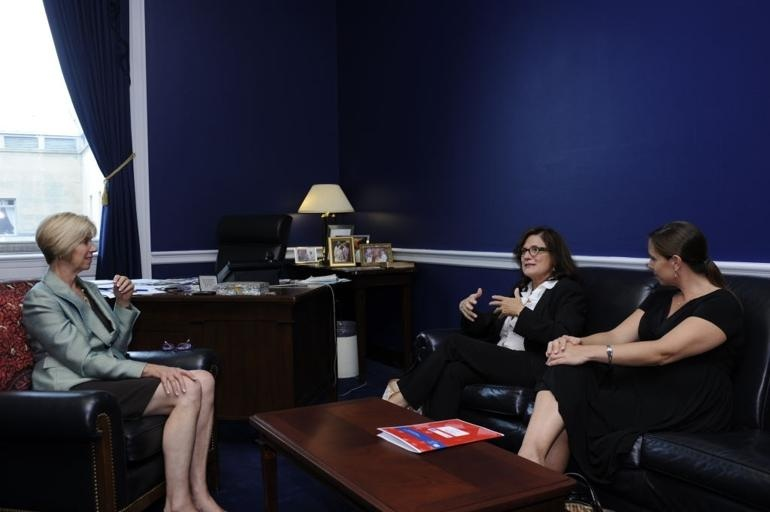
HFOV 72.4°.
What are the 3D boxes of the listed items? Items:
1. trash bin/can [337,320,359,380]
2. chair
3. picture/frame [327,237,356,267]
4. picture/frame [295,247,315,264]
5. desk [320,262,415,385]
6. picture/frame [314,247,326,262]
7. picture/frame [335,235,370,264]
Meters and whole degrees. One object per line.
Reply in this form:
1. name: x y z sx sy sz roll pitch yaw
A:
1. trash bin/can: -0.315 0.793 4.380 0.163 0.488 0.112 -2 11 -5
2. chair: -1.148 -0.053 4.030 0.580 0.647 0.630 0 1 39
3. picture/frame: -0.377 -0.034 4.565 0.257 0.291 0.032 1 -12 -19
4. picture/frame: -0.738 -0.006 4.847 0.237 0.201 0.127 0 2 -12
5. desk: -0.253 0.515 4.640 0.911 1.084 0.912 0 0 -27
6. picture/frame: -0.590 -0.012 4.844 0.128 0.156 0.126 0 3 12
7. picture/frame: -0.292 -0.050 4.574 0.246 0.176 0.035 0 -8 -15
